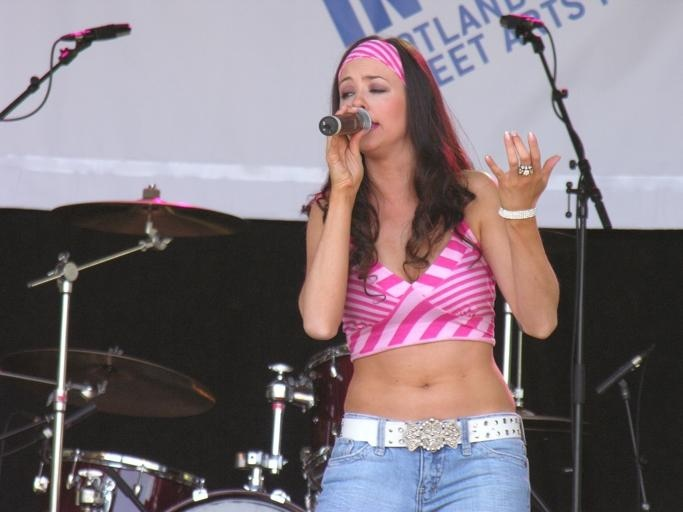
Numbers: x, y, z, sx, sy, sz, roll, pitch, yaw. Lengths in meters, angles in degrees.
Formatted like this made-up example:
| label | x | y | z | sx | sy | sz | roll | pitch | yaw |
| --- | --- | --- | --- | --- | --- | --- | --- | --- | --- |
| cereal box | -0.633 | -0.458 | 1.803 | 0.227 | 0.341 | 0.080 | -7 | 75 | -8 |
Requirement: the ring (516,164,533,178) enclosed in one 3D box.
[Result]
| label | x | y | z | sx | sy | sz | roll | pitch | yaw |
| --- | --- | --- | --- | --- | --- | --- | --- | --- | --- |
| ring | 0.670 | -0.310 | 4.553 | 0.037 | 0.034 | 0.052 | 0 | -4 | 1 |

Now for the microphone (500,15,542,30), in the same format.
| label | x | y | z | sx | sy | sz | roll | pitch | yaw |
| --- | --- | --- | --- | --- | --- | --- | --- | --- | --- |
| microphone | 0.784 | -1.023 | 5.470 | 0.129 | 0.050 | 0.085 | 1 | 0 | -2 |
